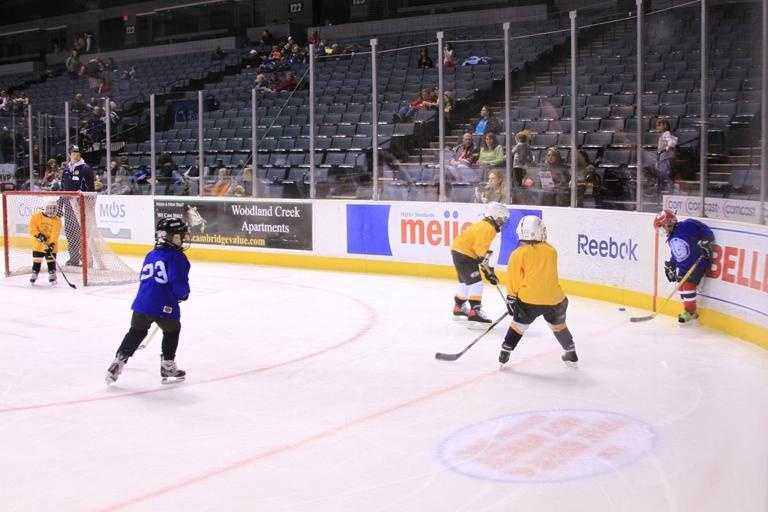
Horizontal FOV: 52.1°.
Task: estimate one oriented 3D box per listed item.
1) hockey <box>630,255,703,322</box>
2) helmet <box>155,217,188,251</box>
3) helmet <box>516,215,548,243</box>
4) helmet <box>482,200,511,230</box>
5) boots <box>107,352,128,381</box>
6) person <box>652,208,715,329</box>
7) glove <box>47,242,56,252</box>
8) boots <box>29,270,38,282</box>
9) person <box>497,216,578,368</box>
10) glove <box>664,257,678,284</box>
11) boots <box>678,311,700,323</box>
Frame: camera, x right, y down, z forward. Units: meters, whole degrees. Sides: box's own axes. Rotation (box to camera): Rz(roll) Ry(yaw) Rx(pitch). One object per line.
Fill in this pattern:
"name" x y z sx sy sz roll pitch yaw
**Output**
"hockey" 3.668 0.419 10.106 0.192 0.167 1.220 11 -42 -28
"helmet" -2.308 -0.251 8.377 0.321 0.334 0.373 11 14 24
"helmet" 1.598 -0.329 8.446 0.270 0.278 0.337 8 27 12
"helmet" 1.426 -0.533 10.052 0.396 0.335 0.331 4 16 -19
"boots" -2.815 1.182 8.312 0.108 0.325 0.140 27 -3 -12
"person" 3.724 0.147 9.773 0.702 1.422 0.311 2 7 20
"glove" -5.502 -0.148 13.026 0.108 0.127 0.045 13 0 -34
"boots" -5.866 0.327 13.163 0.092 0.103 0.265 11 15 -30
"person" 1.652 0.374 8.500 0.846 1.638 0.427 -1 7 -3
"glove" 3.573 0.172 9.893 0.124 0.230 0.176 -11 -6 7
"boots" 3.846 0.775 9.883 0.271 0.099 0.101 -2 6 5
